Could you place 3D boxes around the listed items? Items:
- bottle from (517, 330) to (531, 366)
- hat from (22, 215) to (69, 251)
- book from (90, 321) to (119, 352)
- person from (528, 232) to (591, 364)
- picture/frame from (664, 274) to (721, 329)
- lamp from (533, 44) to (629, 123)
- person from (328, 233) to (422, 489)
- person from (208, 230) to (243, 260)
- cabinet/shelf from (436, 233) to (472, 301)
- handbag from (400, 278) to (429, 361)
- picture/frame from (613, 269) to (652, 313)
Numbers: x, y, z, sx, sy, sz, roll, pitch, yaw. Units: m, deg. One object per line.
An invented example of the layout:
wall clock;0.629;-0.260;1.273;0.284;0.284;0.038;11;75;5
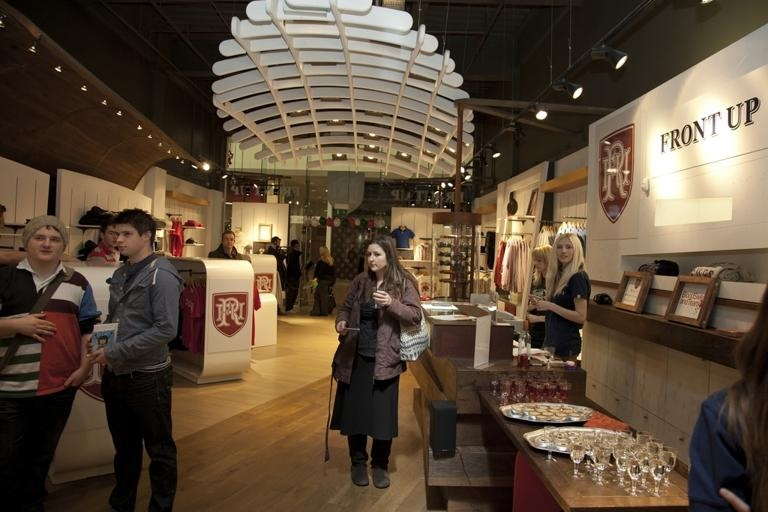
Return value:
bottle;1.332;0.876;4.618;0.098;0.294;0.226;3;5;15
hat;-2.898;-0.172;4.159;0.304;0.264;0.303;5;1;-24
book;-2.318;0.675;4.030;0.243;0.344;0.033;1;-19;-23
person;1.966;0.444;5.453;0.584;1.408;0.534;3;5;18
picture/frame;2.978;0.429;4.709;0.079;0.468;0.457;19;-1;-9
lamp;2.560;-2.345;6.419;0.985;1.032;2.377;4;6;21
person;-0.086;1.048;4.847;0.878;2.494;0.560;2;5;2
person;-3.919;-0.293;12.056;0.697;0.680;0.404;3;-10;-25
cabinet/shelf;0.945;0.140;6.645;0.525;0.945;0.419;3;5;10
handbag;0.334;0.602;5.203;0.381;0.961;0.851;-5;-5;8
picture/frame;2.803;0.398;5.505;0.043;0.462;0.448;19;-1;-8
